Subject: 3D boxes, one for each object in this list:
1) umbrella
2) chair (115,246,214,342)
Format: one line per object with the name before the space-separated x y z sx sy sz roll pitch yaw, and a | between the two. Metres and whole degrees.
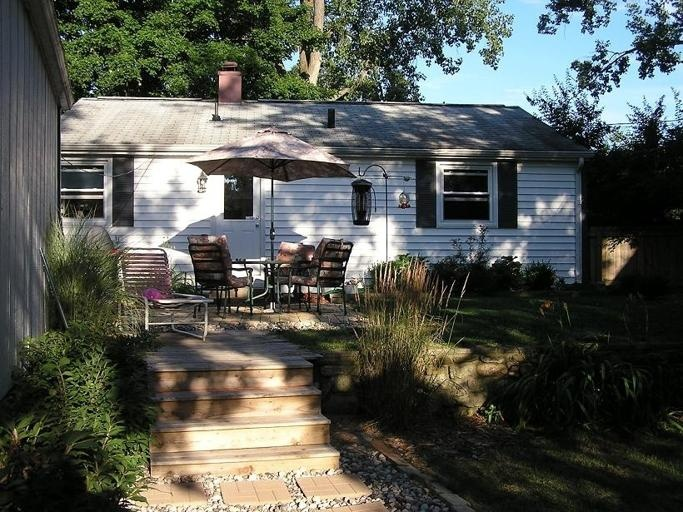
umbrella | -1.097 -0.752 10.524 2.318 2.190 2.377 10 18 35
chair | -1.991 0.350 7.468 0.634 0.998 1.187 3 -1 -34
